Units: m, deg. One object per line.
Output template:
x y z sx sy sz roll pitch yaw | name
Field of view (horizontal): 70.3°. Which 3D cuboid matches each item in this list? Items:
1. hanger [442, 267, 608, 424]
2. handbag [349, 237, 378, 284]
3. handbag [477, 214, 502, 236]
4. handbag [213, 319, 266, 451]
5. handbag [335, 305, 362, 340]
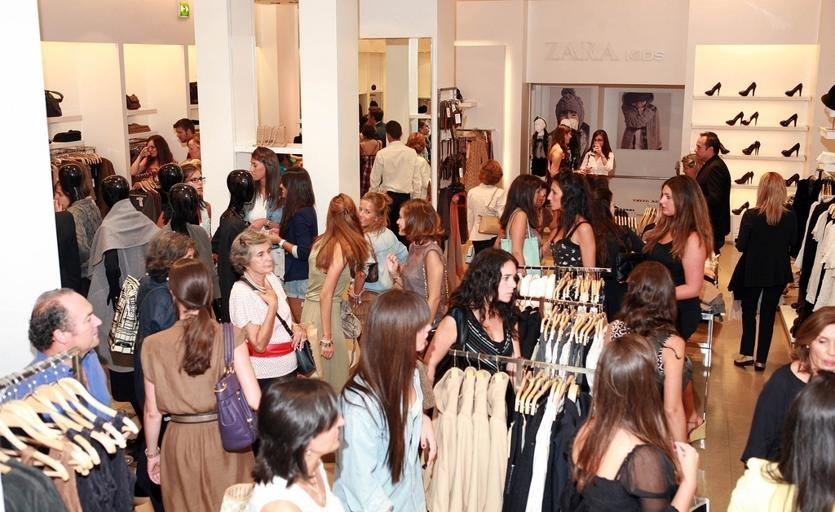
1.086 0.658 4.743 0.565 1.237 0.887 12 -9 -38 | hanger
-0.529 0.051 5.751 0.210 0.404 0.359 -11 20 -31 | handbag
0.998 -0.422 8.132 0.354 0.358 0.142 2 -3 3 | handbag
-1.184 0.849 3.832 0.226 0.764 0.283 -7 14 -17 | handbag
-0.667 0.646 5.886 0.122 0.326 0.206 -20 16 -7 | handbag
